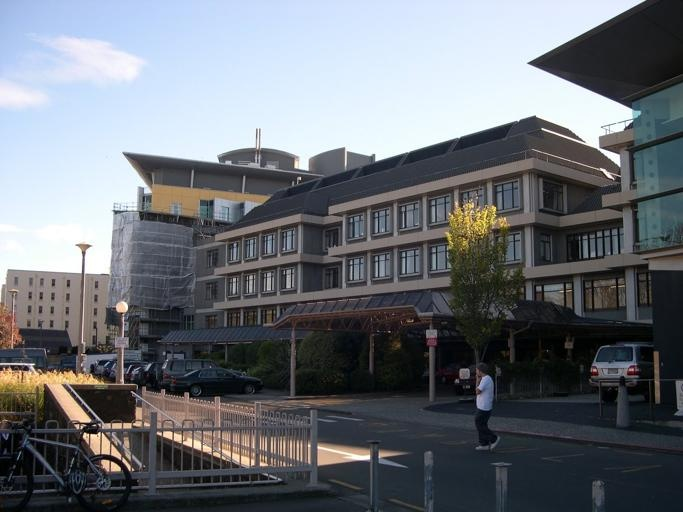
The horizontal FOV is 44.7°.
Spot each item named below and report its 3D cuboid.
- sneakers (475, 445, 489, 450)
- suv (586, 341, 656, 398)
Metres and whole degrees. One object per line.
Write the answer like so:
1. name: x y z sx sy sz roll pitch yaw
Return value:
1. sneakers: 3.965 5.375 23.312 0.139 0.149 0.378 4 -5 -30
2. suv: 11.691 4.738 34.271 2.137 2.026 3.921 -5 -6 40
